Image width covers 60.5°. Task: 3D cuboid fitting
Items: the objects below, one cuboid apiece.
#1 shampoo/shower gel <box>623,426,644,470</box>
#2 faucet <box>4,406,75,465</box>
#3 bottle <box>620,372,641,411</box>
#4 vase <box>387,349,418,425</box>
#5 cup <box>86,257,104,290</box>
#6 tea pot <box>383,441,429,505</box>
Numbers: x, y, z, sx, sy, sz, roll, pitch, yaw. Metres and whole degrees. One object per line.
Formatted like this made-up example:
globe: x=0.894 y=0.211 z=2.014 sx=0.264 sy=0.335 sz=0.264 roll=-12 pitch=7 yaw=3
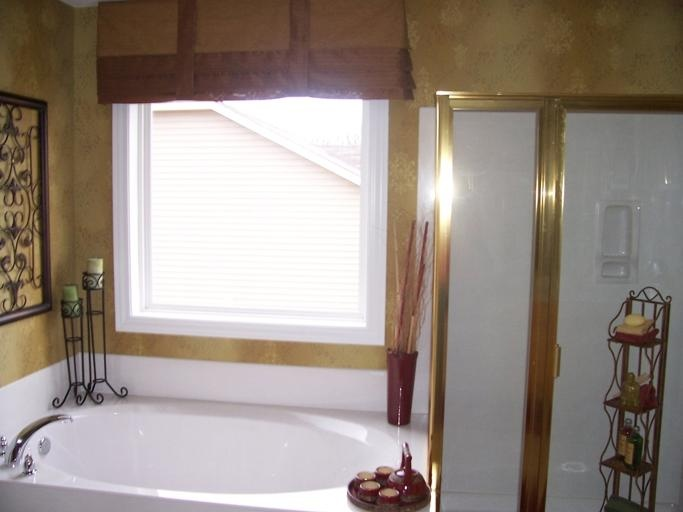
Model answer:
shampoo/shower gel: x=1.400 y=0.922 z=2.822 sx=0.089 sy=0.201 sz=0.089 roll=-5 pitch=10 yaw=-42
faucet: x=-1.567 y=0.900 z=2.960 sx=0.090 sy=0.222 sz=0.549 roll=1 pitch=1 yaw=10
bottle: x=1.373 y=0.648 z=2.795 sx=0.085 sy=0.177 sz=0.031 roll=1 pitch=5 yaw=19
vase: x=0.322 y=0.711 z=3.150 sx=0.153 sy=0.410 sz=0.083 roll=0 pitch=4 yaw=7
cup: x=-1.403 y=0.100 z=3.347 sx=0.082 sy=0.169 sz=0.066 roll=-3 pitch=5 yaw=-29
tea pot: x=0.278 y=0.982 z=2.687 sx=0.201 sy=0.263 sz=0.244 roll=0 pitch=-4 yaw=-1
